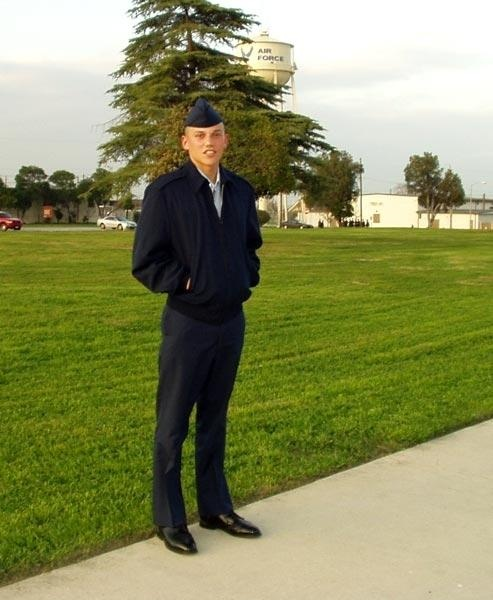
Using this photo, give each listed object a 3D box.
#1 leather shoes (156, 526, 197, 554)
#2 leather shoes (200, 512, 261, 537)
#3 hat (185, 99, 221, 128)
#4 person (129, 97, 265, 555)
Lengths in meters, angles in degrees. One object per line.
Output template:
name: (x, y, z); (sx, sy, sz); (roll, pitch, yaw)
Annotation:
leather shoes: (-0.294, 0.989, 2.428); (0.061, 0.068, 0.181); (-1, 4, -33)
leather shoes: (-0.068, 1.003, 2.621); (0.278, 0.107, 0.094); (-1, 3, 34)
hat: (-0.194, -0.801, 2.536); (0.120, 0.084, 0.163); (-6, 34, -6)
person: (-0.198, 0.094, 2.542); (0.586, 1.934, 0.461); (-1, 8, -13)
